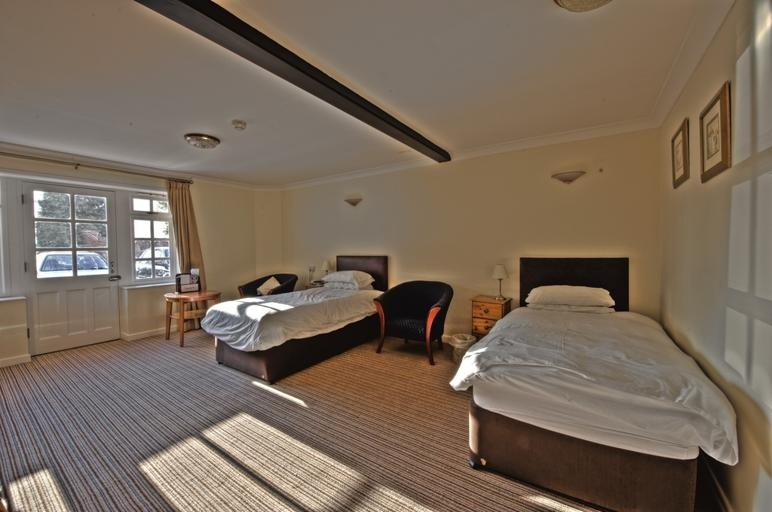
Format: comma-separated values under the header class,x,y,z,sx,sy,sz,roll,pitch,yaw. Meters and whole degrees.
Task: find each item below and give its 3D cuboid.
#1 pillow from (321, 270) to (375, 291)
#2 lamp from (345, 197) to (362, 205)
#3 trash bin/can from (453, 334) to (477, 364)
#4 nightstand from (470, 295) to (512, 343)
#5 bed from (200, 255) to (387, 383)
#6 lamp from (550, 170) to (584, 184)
class,x,y,z,sx,sy,sz,roll,pitch,yaw
pillow,-0.613,0.376,6.864,0.547,0.180,0.354,-3,1,30
lamp,-0.548,-0.893,7.325,0.196,0.093,0.138,-2,-4,23
trash bin/can,0.963,1.170,5.545,0.331,0.316,0.284,2,3,26
nightstand,1.425,0.817,6.053,0.515,0.775,0.661,4,-4,-42
bed,-1.062,0.718,6.229,1.266,1.487,2.454,3,6,33
lamp,2.311,-0.995,5.540,0.209,0.084,0.207,3,-1,0
